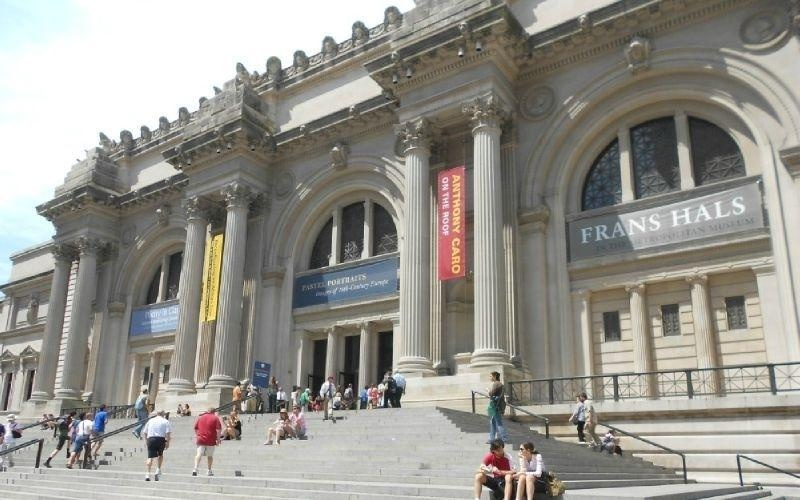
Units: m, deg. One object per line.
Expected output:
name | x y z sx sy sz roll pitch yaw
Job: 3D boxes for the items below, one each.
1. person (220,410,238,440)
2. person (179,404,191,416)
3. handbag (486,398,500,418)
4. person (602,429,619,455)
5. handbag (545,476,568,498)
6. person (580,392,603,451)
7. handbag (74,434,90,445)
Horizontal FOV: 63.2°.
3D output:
person | -6.851 7.152 26.489 0.568 1.185 0.875 6 -21 -17
person | -11.062 8.217 33.483 0.476 0.631 0.962 9 -22 -26
handbag | 3.079 5.098 20.950 0.443 0.596 0.324 -4 -20 10
person | 7.759 7.028 23.846 0.926 0.896 0.531 14 -25 -36
handbag | 4.240 6.444 17.687 0.515 0.470 0.271 21 -43 -34
person | 6.986 6.228 23.864 0.493 1.930 0.609 -6 -21 14
handbag | -12.066 7.214 24.634 0.565 0.533 0.315 3 -20 -10
